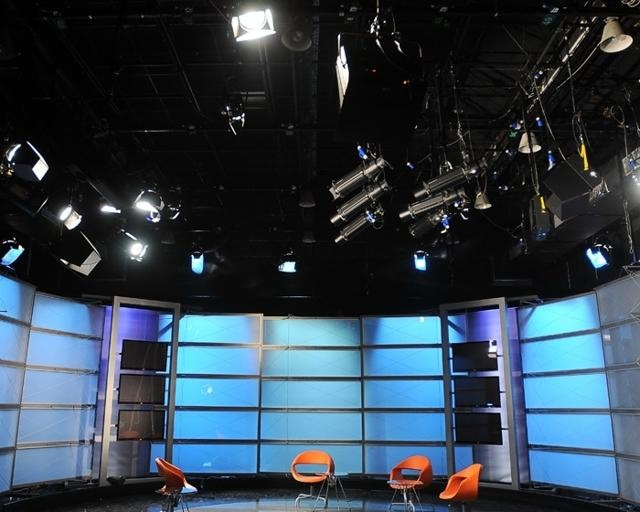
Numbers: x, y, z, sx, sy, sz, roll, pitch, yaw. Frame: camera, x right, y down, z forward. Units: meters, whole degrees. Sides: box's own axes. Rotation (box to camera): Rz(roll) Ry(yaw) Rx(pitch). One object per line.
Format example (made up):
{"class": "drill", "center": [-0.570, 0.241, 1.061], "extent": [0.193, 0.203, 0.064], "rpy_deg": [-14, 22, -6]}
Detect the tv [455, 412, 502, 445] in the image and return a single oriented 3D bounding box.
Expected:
{"class": "tv", "center": [3.049, 3.321, 10.656], "extent": [0.918, 0.613, 0.218], "rpy_deg": [-9, -21, 17]}

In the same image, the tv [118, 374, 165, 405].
{"class": "tv", "center": [-3.569, 2.618, 10.823], "extent": [0.648, 0.415, 0.024], "rpy_deg": [8, -23, -29]}

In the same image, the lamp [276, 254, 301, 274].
{"class": "lamp", "center": [-0.808, 0.188, 12.990], "extent": [0.424, 0.445, 0.458], "rpy_deg": [2, -1, 0]}

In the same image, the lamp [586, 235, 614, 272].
{"class": "lamp", "center": [5.408, -0.077, 10.582], "extent": [0.404, 0.762, 0.526], "rpy_deg": [3, -15, -44]}

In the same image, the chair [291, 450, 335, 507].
{"class": "chair", "center": [-0.123, 4.190, 10.530], "extent": [0.771, 0.976, 2.003], "rpy_deg": [-2, -21, 0]}

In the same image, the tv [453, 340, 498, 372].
{"class": "tv", "center": [3.120, 1.992, 10.933], "extent": [0.618, 0.459, 0.085], "rpy_deg": [-10, -21, 37]}

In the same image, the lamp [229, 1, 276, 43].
{"class": "lamp", "center": [-0.817, -2.623, 6.415], "extent": [0.430, 0.277, 0.407], "rpy_deg": [-10, 1, -43]}

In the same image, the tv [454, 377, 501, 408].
{"class": "tv", "center": [3.124, 2.748, 10.914], "extent": [1.084, 0.749, 0.567], "rpy_deg": [-8, -19, 30]}

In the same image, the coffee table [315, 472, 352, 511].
{"class": "coffee table", "center": [0.224, 4.466, 10.427], "extent": [0.528, 0.752, 0.578], "rpy_deg": [-13, -46, 13]}
